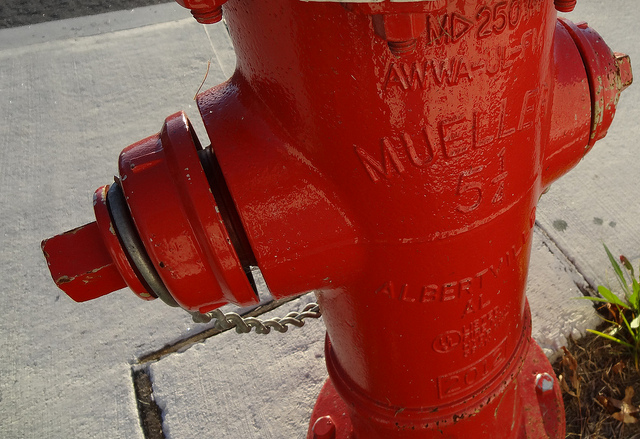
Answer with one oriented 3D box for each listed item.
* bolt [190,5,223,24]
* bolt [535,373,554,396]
[{"bbox_3d":[-0.353,-0.635,2.587,0.064,0.065,0.064,-35,20,-12],"label":"bolt"},{"bbox_3d":[0.954,0.701,3.541,0.082,0.082,0.029,-25,0,-5],"label":"bolt"}]
